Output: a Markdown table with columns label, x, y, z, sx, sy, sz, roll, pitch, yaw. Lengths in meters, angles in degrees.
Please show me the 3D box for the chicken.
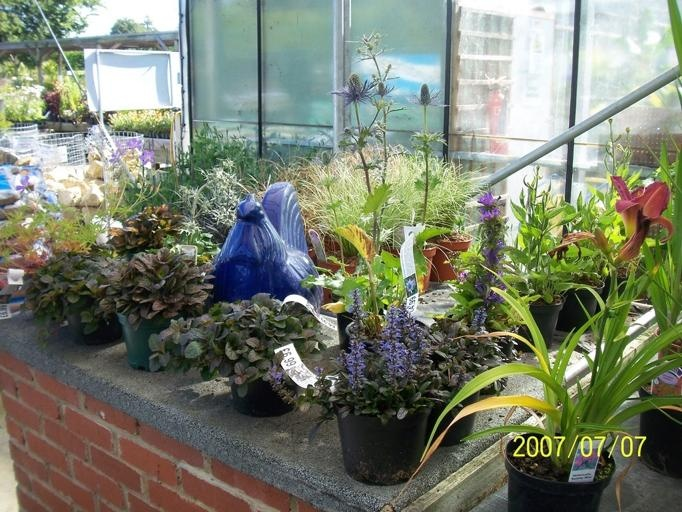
| label | x | y | z | sx | sy | sz | roll | pitch | yaw |
| --- | --- | --- | --- | --- | --- | --- | --- | --- | --- |
| chicken | -0.280 | -0.049 | 1.904 | 0.463 | 0.457 | 0.354 | -6 | 21 | -22 |
